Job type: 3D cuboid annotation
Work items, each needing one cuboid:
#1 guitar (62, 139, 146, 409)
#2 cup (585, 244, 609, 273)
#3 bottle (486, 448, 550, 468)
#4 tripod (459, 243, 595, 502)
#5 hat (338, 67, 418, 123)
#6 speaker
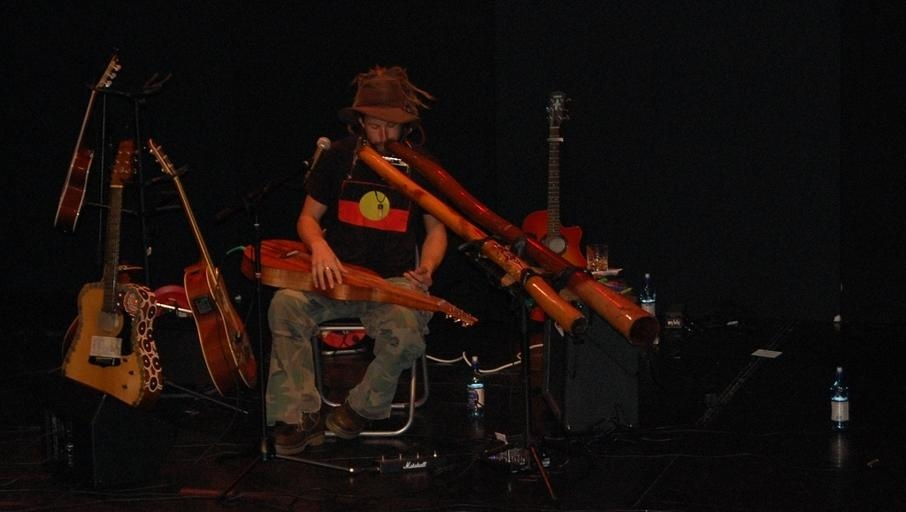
[{"bbox_3d":[-2.428,0.085,6.297,0.724,1.966,0.441,5,-1,38],"label":"guitar"},{"bbox_3d":[1.261,0.017,7.565,0.257,0.311,0.239,0,-3,0],"label":"cup"},{"bbox_3d":[0.421,1.384,6.075,0.254,0.048,0.208,2,1,36],"label":"bottle"},{"bbox_3d":[0.567,0.912,6.408,0.591,1.301,1.337,-15,32,-11],"label":"tripod"},{"bbox_3d":[-0.511,-1.194,6.496,0.513,0.256,0.498,7,12,19],"label":"hat"},{"bbox_3d":[-2.539,1.256,6.192,0.724,0.640,0.952,-4,10,-40],"label":"speaker"}]
